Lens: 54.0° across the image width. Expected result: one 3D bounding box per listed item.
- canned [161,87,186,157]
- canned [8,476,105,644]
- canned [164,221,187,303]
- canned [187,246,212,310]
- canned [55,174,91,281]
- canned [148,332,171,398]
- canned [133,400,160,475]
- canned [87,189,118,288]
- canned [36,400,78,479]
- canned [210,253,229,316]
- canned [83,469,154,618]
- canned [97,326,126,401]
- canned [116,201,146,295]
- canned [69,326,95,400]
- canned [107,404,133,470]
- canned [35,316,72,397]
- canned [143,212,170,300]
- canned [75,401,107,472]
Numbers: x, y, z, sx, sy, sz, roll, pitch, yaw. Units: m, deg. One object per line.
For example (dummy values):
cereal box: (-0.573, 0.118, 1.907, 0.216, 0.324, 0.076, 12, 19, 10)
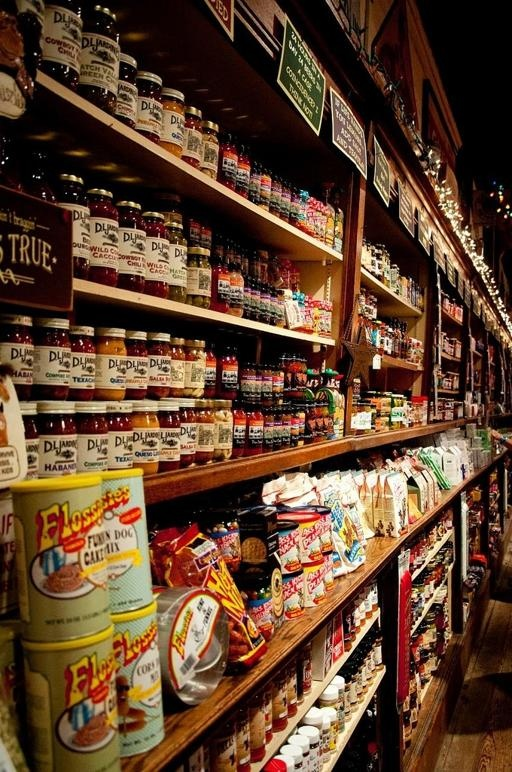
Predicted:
canned: (-0.174, -0.630, 1.210, 0.068, 0.137, 0.078, 10, 23, 11)
canned: (-0.229, 0.199, 0.607, 0.091, 0.193, 0.103, -2, 2, 6)
canned: (-0.184, -0.305, 1.244, 0.075, 0.192, 0.074, -6, 11, -37)
canned: (-0.148, -0.285, 1.340, 0.102, 0.157, 0.115, 2, 5, 8)
canned: (-0.326, -0.281, 0.889, 0.059, 0.170, 0.065, 10, 16, 22)
canned: (-0.217, -0.048, 1.192, 0.041, 0.152, 0.122, 0, 5, 9)
canned: (-0.229, 0.110, 1.087, 0.037, 0.162, 0.113, 0, 5, 11)
canned: (-0.289, -0.286, 0.973, 0.064, 0.174, 0.071, 4, 7, 13)
canned: (-0.313, 0.082, 0.822, 0.042, 0.120, 0.101, 0, 5, 10)
canned: (-0.106, -0.293, 1.446, 0.072, 0.153, 0.080, 4, 5, 1)
canned: (-0.193, 0.242, 0.776, 0.095, 0.193, 0.101, -18, -16, 40)
canned: (-0.284, -0.041, 0.985, 0.062, 0.141, 0.042, -3, 5, -25)
canned: (-0.256, -0.288, 1.042, 0.060, 0.181, 0.042, -3, 5, -29)
canned: (-0.309, -0.041, 0.916, 0.030, 0.134, 0.098, 0, 5, 10)
canned: (-0.261, 0.094, 0.993, 0.033, 0.130, 0.108, 0, 5, 5)
canned: (-0.331, -0.043, 0.820, 0.059, 0.134, 0.033, -3, 5, -31)
canned: (-0.226, -0.294, 1.137, 0.067, 0.177, 0.066, -3, 7, -39)
canned: (-0.283, 0.088, 0.902, 0.039, 0.122, 0.097, 1, 5, 14)
